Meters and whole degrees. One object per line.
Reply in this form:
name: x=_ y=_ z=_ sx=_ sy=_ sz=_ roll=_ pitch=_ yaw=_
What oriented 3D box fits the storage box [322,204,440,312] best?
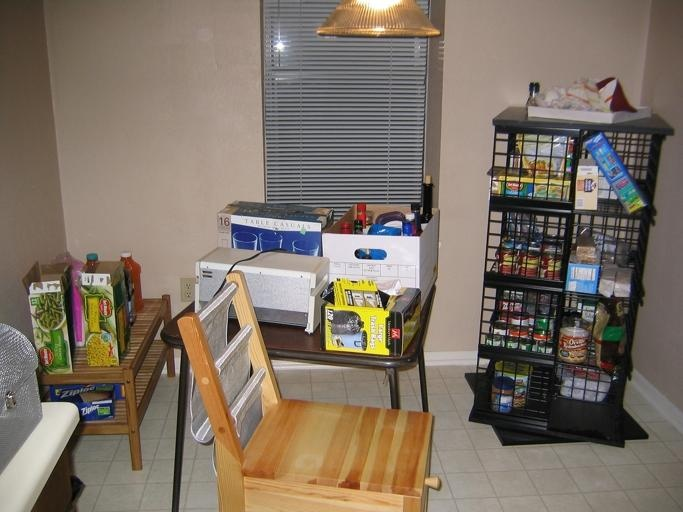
storage box: x=0.210 y=-0.056 z=2.695 sx=0.453 sy=0.316 sz=0.497 roll=4 pitch=20 yaw=13

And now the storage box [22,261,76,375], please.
storage box: x=-1.298 y=0.280 z=2.477 sx=0.179 sy=0.466 sz=0.327 roll=-4 pitch=29 yaw=-10

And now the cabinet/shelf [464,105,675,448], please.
cabinet/shelf: x=1.230 y=-0.141 z=2.969 sx=0.748 sy=1.619 sz=0.544 roll=5 pitch=45 yaw=19

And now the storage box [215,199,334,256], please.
storage box: x=-0.337 y=-0.129 z=2.740 sx=0.573 sy=0.191 sz=0.442 roll=2 pitch=16 yaw=1

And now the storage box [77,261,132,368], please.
storage box: x=-1.135 y=0.289 z=2.622 sx=0.180 sy=0.553 sz=0.306 roll=4 pitch=20 yaw=-2

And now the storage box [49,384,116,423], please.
storage box: x=-1.292 y=0.715 z=2.789 sx=0.230 sy=0.096 sz=0.258 roll=6 pitch=19 yaw=-10

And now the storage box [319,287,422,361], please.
storage box: x=0.129 y=0.264 z=2.374 sx=0.417 sy=0.195 sz=0.435 roll=1 pitch=11 yaw=8
